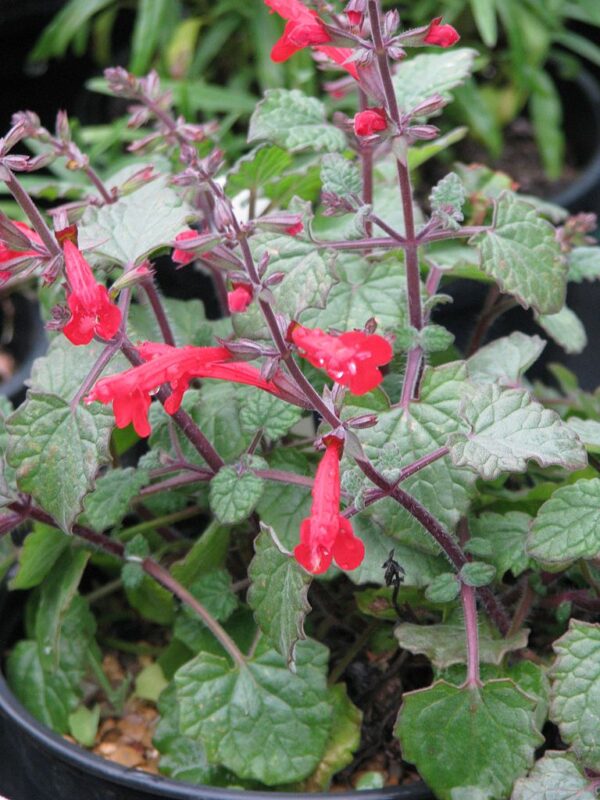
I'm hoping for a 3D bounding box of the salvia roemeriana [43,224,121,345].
[{"bbox_3d":[-0.301,-0.148,1.019,0.086,0.037,0.169,-18,74,-11],"label":"salvia roemeriana"}]

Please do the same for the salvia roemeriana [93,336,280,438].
[{"bbox_3d":[-0.160,-0.031,1.097,0.143,0.087,0.226,2,38,40],"label":"salvia roemeriana"}]
